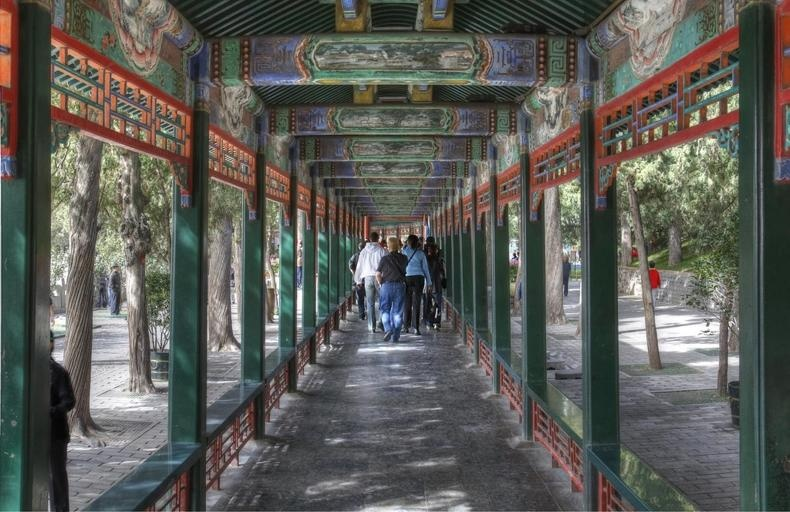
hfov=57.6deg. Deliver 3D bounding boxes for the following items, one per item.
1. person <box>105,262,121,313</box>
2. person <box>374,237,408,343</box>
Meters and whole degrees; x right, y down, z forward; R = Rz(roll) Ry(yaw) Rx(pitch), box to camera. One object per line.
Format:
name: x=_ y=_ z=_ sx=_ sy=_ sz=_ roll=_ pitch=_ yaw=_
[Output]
person: x=-8.857 y=1.064 z=22.797 sx=0.343 sy=1.592 sz=1.147 roll=-1 pitch=2 yaw=-20
person: x=-0.037 y=0.580 z=12.253 sx=0.483 sy=1.775 sz=0.779 roll=-1 pitch=2 yaw=1
